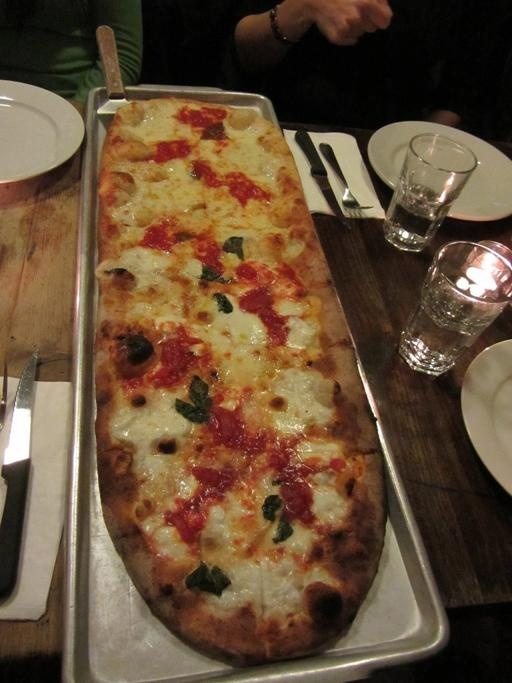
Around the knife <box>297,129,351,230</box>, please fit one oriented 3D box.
[{"bbox_3d":[0.208,-0.525,1.933,0.077,0.025,0.492,-6,50,-7],"label":"knife"}]

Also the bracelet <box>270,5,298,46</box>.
[{"bbox_3d":[0.090,-1.314,2.557,0.093,0.116,0.169,-16,58,-13],"label":"bracelet"}]

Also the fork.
[{"bbox_3d":[0.272,-0.514,1.943,0.058,0.058,0.399,-7,53,-20],"label":"fork"}]

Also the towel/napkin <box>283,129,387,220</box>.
[{"bbox_3d":[0.270,-0.553,1.989,0.254,0.042,0.374,-7,51,-17],"label":"towel/napkin"}]
